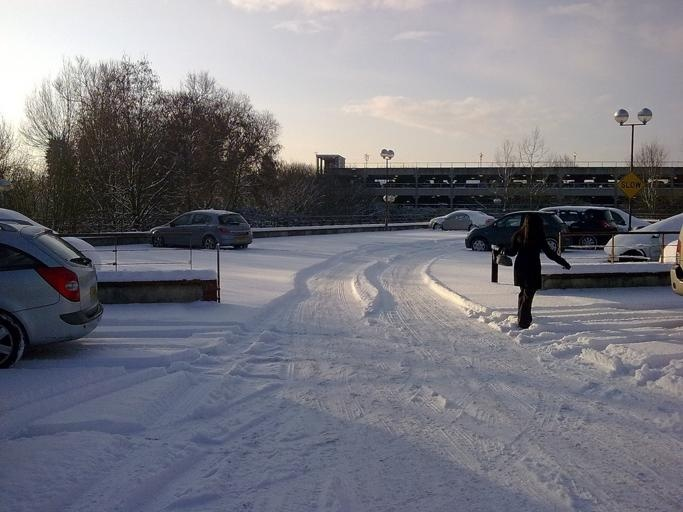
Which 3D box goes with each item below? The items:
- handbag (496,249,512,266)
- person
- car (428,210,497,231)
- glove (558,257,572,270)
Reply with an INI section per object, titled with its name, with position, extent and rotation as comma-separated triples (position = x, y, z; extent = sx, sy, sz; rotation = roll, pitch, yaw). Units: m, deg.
[handbag]
position = 2.745, 0.041, 11.075
extent = 0.225, 0.121, 0.331
rotation = -3, 5, 4
[person]
position = 2.996, 0.175, 10.881
extent = 0.978, 1.773, 0.995
rotation = 9, 16, 33
[car]
position = 7.062, -1.878, 39.593
extent = 3.332, 1.106, 1.708
rotation = 1, 6, 30
[glove]
position = 4.317, 0.153, 12.730
extent = 0.169, 0.259, 0.452
rotation = 33, 0, 4
